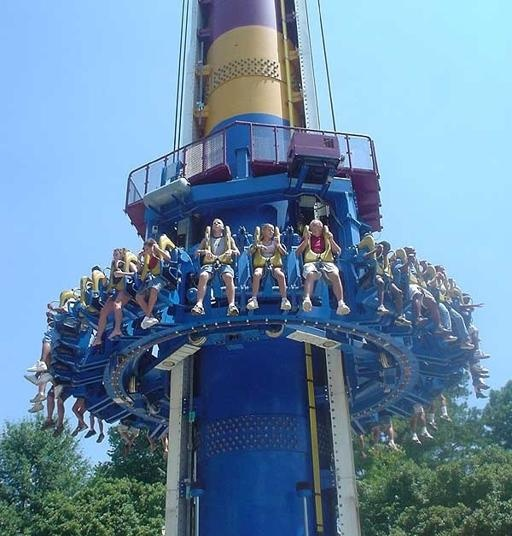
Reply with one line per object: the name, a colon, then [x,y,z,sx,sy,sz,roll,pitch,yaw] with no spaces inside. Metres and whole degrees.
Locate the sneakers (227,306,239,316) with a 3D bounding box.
sneakers: [-0.533,1.034,16.997,0.185,0.277,0.247,9,-1,-20]

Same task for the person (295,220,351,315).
person: [1.635,-0.004,18.279,1.328,2.926,1.118,11,-36,-16]

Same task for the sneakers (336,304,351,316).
sneakers: [2.144,0.982,17.466,0.284,0.294,0.296,4,-31,-8]

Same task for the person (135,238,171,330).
person: [-2.619,0.357,18.160,0.730,2.534,1.119,11,-35,-16]

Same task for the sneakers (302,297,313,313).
sneakers: [1.228,0.899,17.219,0.219,0.337,0.225,-4,-7,3]

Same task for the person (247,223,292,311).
person: [0.308,-0.054,17.940,1.050,2.680,0.889,0,-34,-1]

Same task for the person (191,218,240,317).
person: [-0.982,0.015,17.880,1.083,2.925,0.608,2,-34,-2]
